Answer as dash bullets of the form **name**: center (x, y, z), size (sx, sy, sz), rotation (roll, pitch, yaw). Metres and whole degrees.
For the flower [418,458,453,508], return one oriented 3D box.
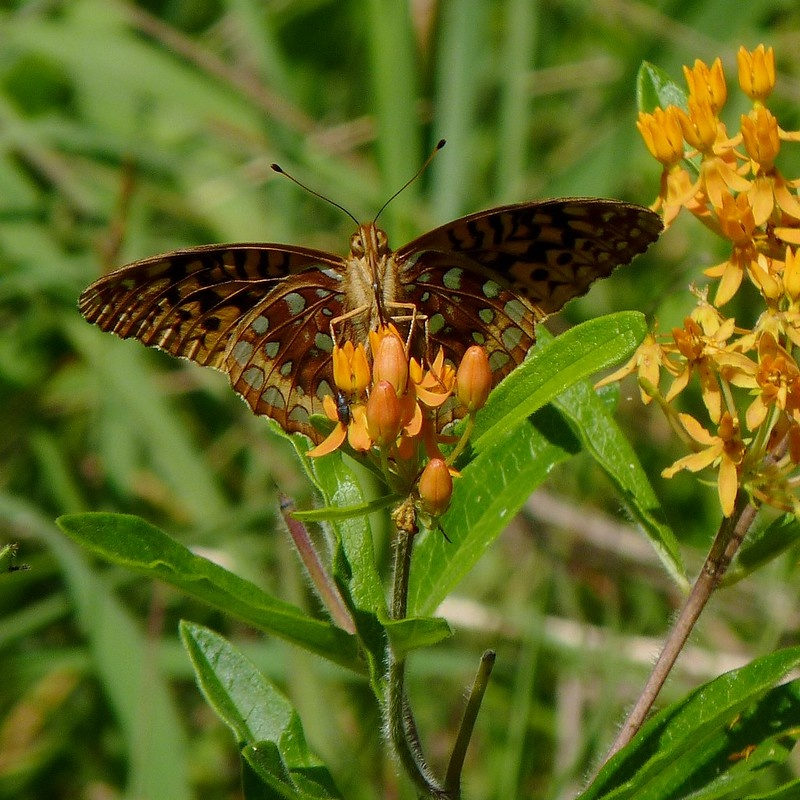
- **flower**: center (0.069, 0.159, 2.240), size (0.065, 0.060, 0.098), rotation (-9, -40, -10)

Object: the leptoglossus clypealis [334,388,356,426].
- **leptoglossus clypealis**: center (-0.110, 0.019, 2.368), size (0.048, 0.060, 0.019), rotation (-7, -4, -38)

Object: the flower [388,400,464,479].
- **flower**: center (0.054, 0.088, 2.374), size (0.153, 0.137, 0.087), rotation (-18, -42, 13)

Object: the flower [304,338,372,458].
- **flower**: center (-0.099, -0.003, 2.384), size (0.167, 0.201, 0.217), rotation (-1, 20, 1)
